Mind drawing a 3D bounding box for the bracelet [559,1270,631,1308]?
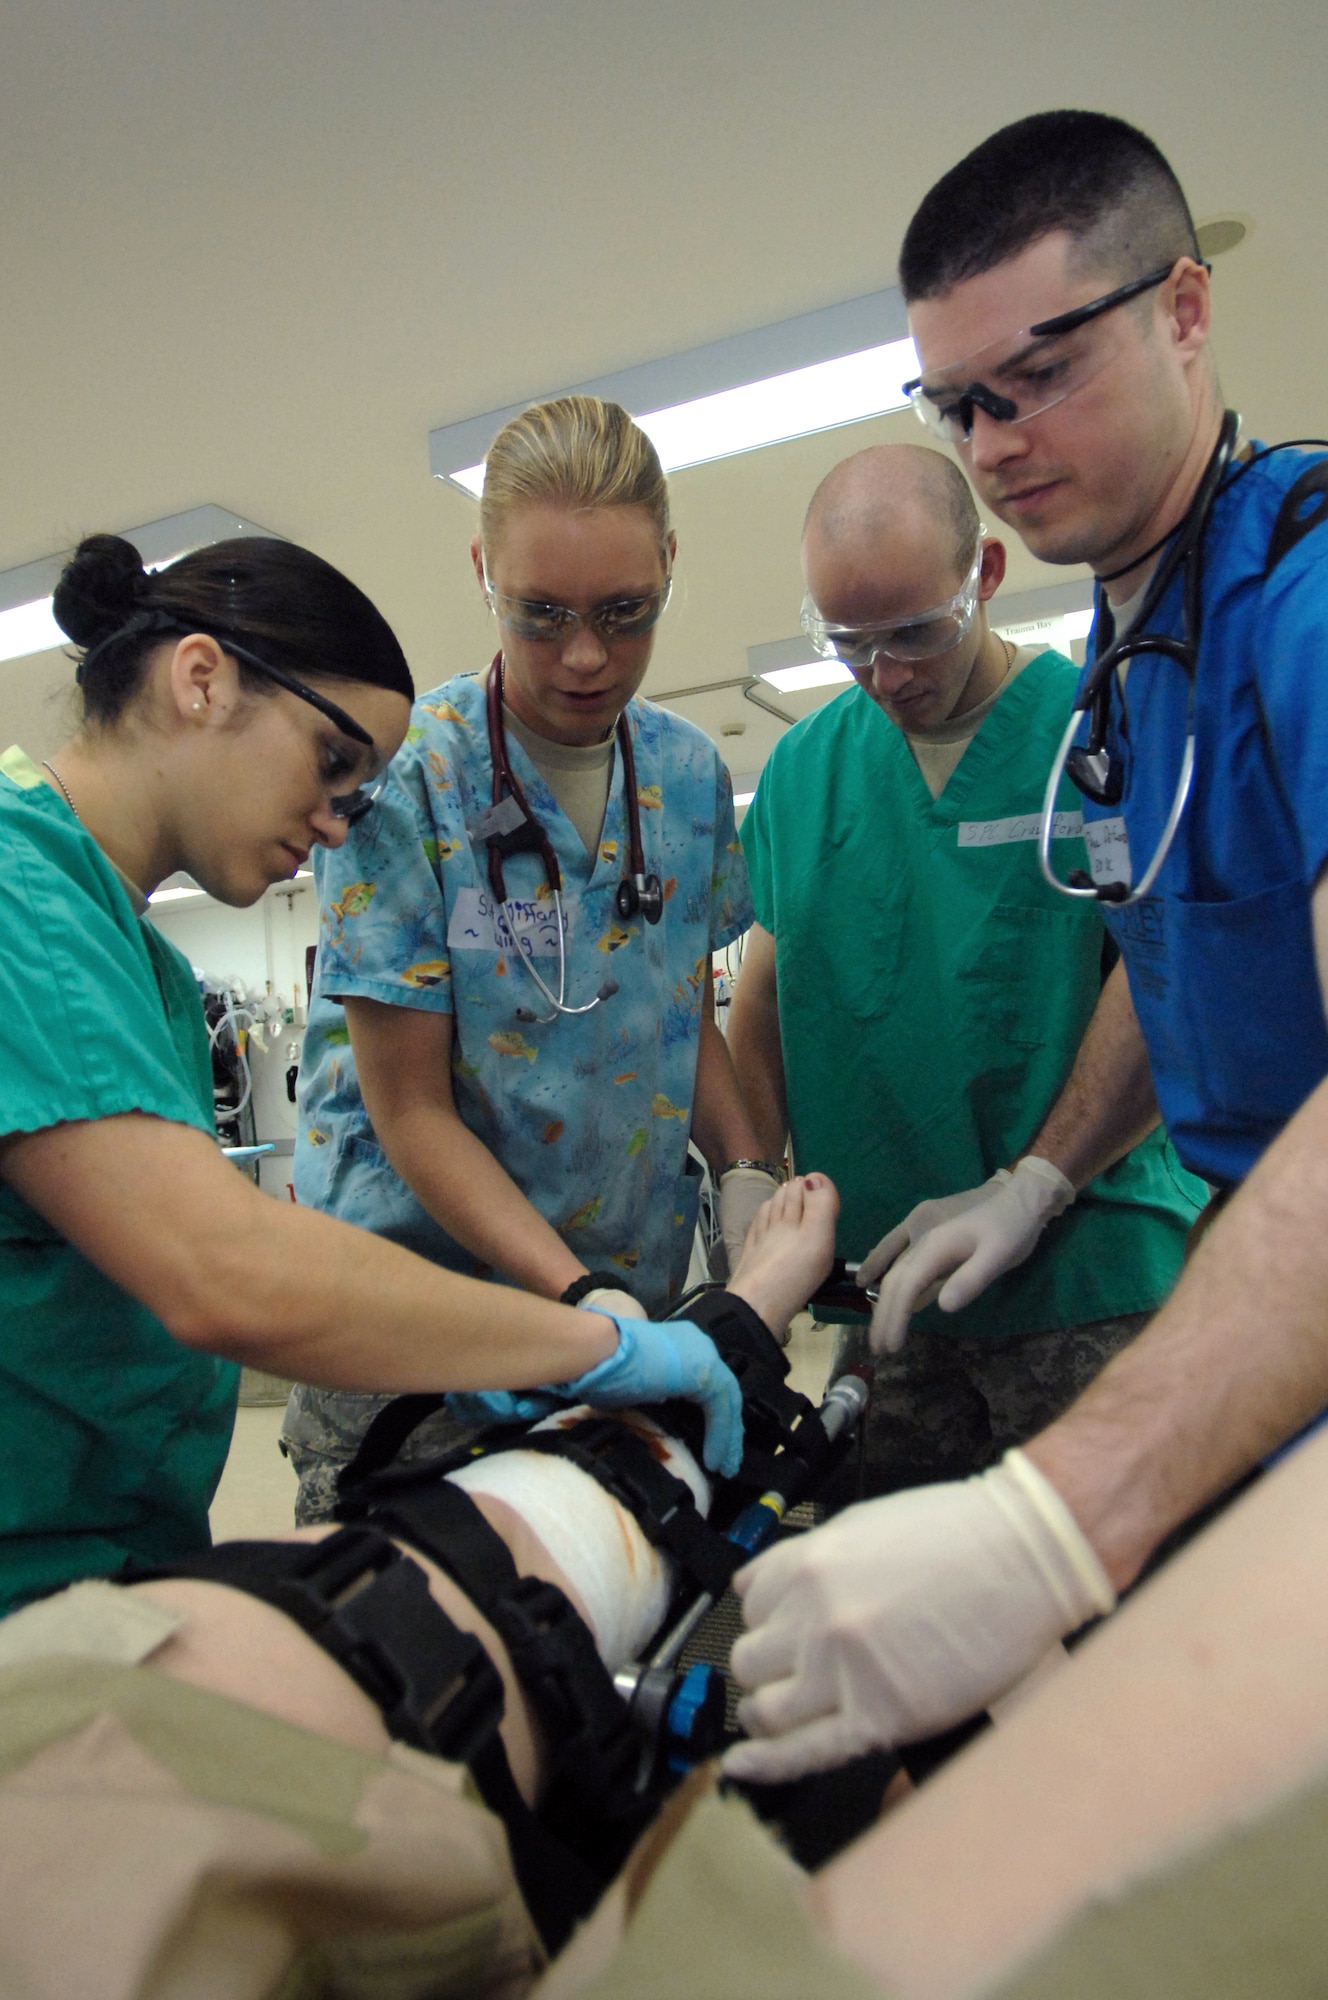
[{"bbox_3d":[-0.060,0.272,1.485,0.048,0.018,0.048,7,-11,8],"label":"bracelet"}]

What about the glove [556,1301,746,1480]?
[{"bbox_3d":[-0.023,0.310,1.324,0.119,0.074,0.158,-42,36,11],"label":"glove"}]

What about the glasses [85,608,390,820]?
[{"bbox_3d":[-0.354,-0.224,1.344,0.173,0.050,0.161,29,18,-22],"label":"glasses"}]

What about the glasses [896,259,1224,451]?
[{"bbox_3d":[0.336,-0.589,1.347,0.200,0.058,0.188,-33,14,-11],"label":"glasses"}]
